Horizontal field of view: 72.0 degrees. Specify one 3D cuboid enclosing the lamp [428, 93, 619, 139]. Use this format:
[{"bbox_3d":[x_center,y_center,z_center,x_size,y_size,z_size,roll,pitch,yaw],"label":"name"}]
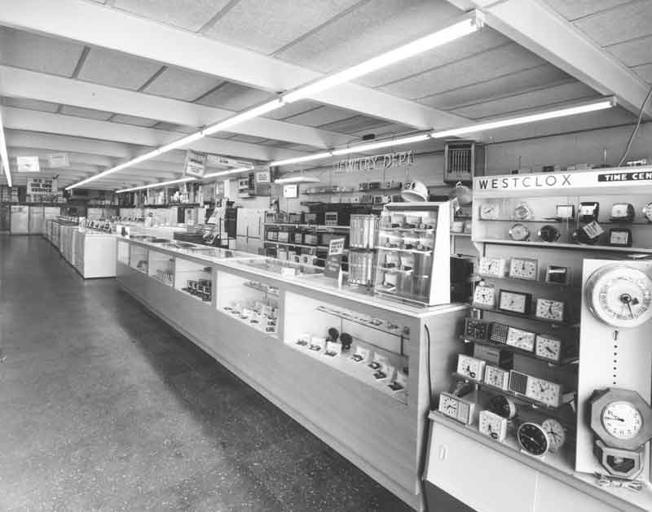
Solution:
[{"bbox_3d":[2.582,-1.820,6.107,2.363,0.446,1.000,14,17,42],"label":"lamp"}]
